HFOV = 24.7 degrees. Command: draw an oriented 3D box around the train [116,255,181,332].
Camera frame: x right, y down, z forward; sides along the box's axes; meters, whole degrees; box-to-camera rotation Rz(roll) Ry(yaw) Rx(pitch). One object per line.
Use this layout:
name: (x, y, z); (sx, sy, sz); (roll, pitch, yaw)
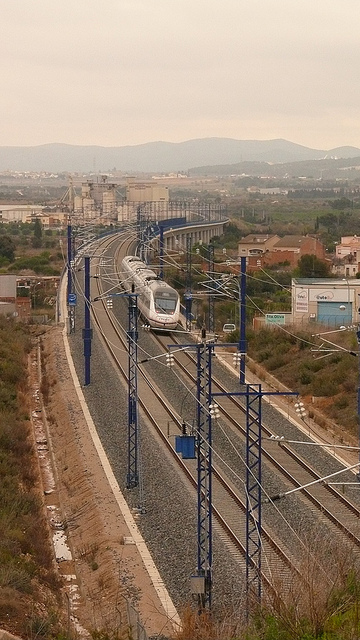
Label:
train: (-1.721, -1.900, 51.083); (1.893, 3.110, 12.029); (0, 15, -8)
